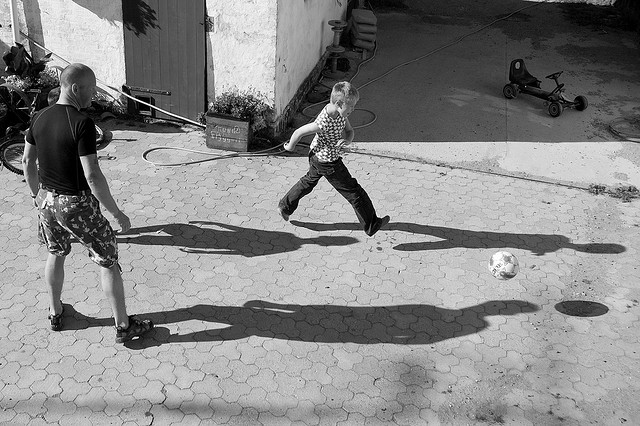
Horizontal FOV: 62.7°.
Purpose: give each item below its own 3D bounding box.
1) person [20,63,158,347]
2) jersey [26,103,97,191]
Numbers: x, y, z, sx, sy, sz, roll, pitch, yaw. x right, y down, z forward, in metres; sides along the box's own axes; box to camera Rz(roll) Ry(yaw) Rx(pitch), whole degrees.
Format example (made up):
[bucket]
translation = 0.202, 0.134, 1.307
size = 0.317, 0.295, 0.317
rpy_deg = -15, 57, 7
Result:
[person]
translation = -2.778, -0.012, 6.205
size = 1.052, 3.144, 1.529
rpy_deg = -18, 38, -37
[jersey]
translation = -2.903, -0.698, 5.955
size = 0.855, 0.748, 0.363
rpy_deg = 16, 30, 11
